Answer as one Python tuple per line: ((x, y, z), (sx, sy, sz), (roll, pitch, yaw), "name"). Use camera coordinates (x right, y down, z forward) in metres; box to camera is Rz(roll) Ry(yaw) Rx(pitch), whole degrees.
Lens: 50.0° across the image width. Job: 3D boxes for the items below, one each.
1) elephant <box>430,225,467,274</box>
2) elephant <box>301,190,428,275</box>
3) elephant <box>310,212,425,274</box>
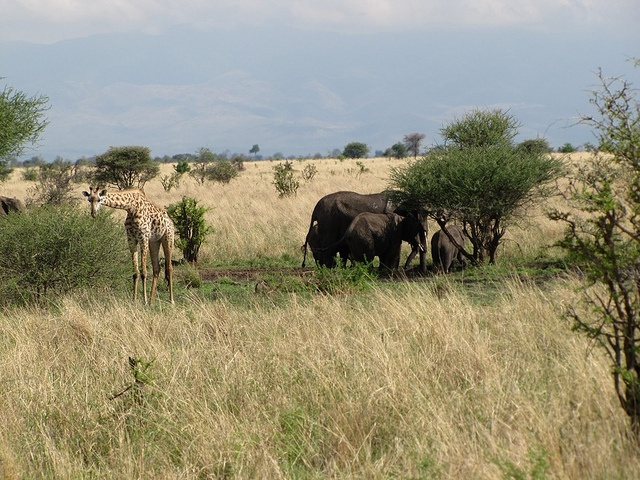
((2.897, 0.137, 14.938), (0.527, 0.981, 1.561), (-1, 9, 34), "elephant")
((1.147, -0.102, 15.775), (3.059, 1.917, 1.277), (3, -3, -7), "elephant")
((1.421, 0.042, 14.844), (2.191, 1.442, 0.987), (-2, 14, -25), "elephant")
